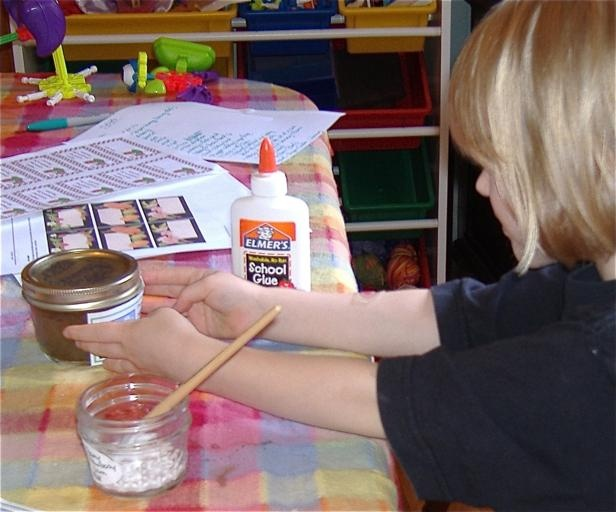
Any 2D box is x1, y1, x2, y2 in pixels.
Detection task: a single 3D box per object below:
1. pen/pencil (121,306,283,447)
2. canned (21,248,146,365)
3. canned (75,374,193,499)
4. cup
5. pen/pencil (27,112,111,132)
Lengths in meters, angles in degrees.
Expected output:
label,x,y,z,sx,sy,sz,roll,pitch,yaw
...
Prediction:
label,x,y,z,sx,sy,sz,roll,pitch,yaw
pen/pencil,-0.090,0.104,0.465,0.217,0.017,0.017,-29,72,-36
canned,-0.209,0.056,0.561,0.129,0.076,0.108,-3,31,-6
canned,-0.121,0.126,0.395,0.076,0.052,0.080,-10,24,-14
cup,-0.109,0.127,0.383,0.089,0.054,0.079,2,24,-2
pen/pencil,-0.437,-0.245,1.008,0.219,0.019,0.021,-9,24,-22
